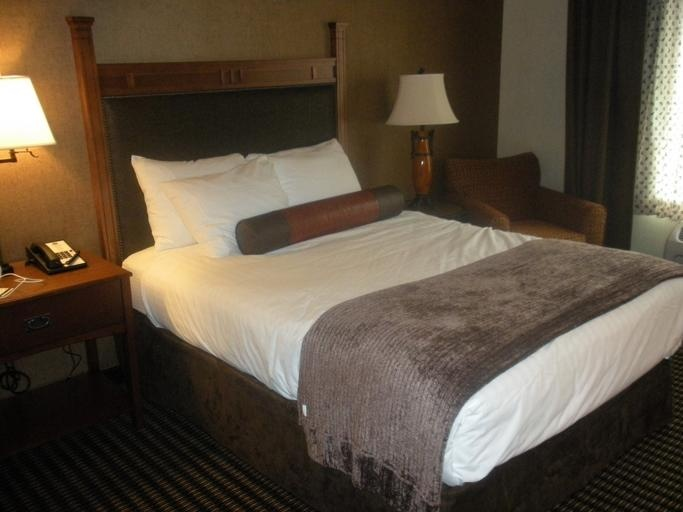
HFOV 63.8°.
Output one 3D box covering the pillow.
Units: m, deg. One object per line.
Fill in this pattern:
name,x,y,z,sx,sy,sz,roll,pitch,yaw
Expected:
pillow,-0.657,-0.442,3.591,1.202,0.818,0.296,-19,4,-32
